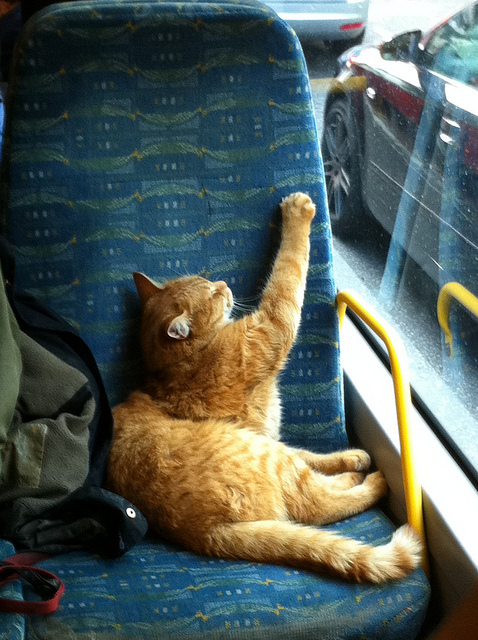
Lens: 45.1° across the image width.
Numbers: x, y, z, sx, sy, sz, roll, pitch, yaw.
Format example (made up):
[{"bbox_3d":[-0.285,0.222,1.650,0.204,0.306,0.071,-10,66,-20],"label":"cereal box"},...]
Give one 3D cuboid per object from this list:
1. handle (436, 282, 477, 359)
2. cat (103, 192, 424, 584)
[{"bbox_3d":[0.481,-0.011,1.305,0.042,0.134,0.100,0,17,-22],"label":"handle"},{"bbox_3d":[0.001,0.136,1.106,0.539,0.526,0.700,-10,18,-22],"label":"cat"}]
